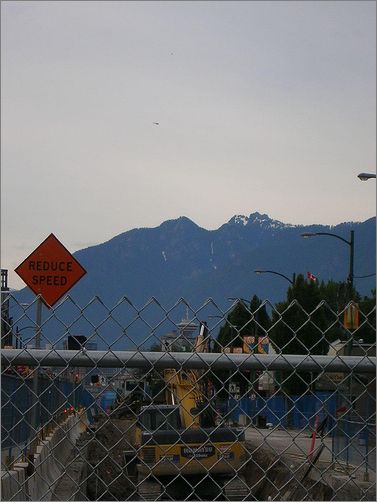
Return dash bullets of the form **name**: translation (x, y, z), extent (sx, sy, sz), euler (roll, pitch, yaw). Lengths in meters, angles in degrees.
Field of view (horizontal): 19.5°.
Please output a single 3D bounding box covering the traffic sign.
- **traffic sign**: translation (-2.183, 0.316, 17.231), extent (1.091, 1.312, 0.024), euler (1, 28, -8)
